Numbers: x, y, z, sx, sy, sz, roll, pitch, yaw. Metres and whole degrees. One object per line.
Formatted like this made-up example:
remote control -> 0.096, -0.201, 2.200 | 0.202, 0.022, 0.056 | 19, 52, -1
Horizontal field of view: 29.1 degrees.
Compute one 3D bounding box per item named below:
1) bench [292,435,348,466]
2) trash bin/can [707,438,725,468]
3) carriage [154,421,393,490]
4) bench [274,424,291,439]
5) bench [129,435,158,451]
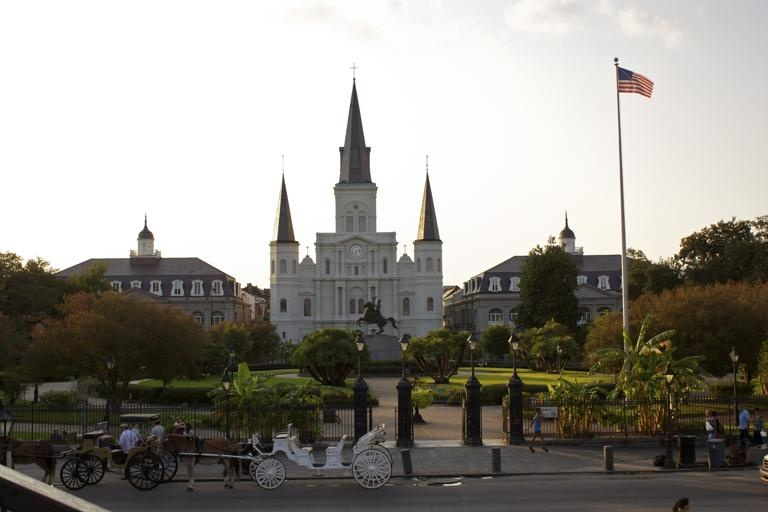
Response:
bench -> -3.614, 10.409, 78.799 | 2.766, 1.469, 1.822 | 1, -7, 0
trash bin/can -> 18.175, 10.740, 80.943 | 0.885, 1.593, 0.745 | -1, -8, 9
carriage -> -5.583, 10.731, 78.970 | 11.626, 3.574, 2.873 | 0, -6, -9
bench -> -5.643, 9.662, 81.917 | 0.969, 1.200, 1.222 | 1, -5, 3
bench -> -12.721, 9.875, 78.638 | 1.217, 0.772, 0.743 | 1, -8, -1
